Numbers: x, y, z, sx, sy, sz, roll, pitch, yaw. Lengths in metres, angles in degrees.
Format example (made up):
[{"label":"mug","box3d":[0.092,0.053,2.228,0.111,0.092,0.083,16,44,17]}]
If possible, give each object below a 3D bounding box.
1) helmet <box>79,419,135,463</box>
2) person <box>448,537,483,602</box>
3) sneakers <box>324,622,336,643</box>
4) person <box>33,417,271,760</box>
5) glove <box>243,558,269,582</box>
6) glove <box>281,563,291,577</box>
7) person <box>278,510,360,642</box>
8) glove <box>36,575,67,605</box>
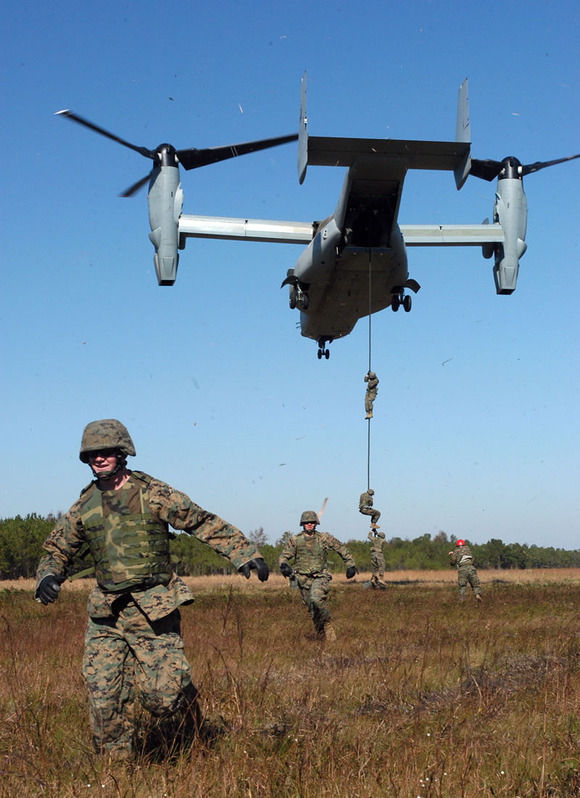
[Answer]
[{"label":"helmet","box3d":[-1.187,0.283,7.208,0.390,0.312,0.423,-2,-18,-3]},{"label":"person","box3d":[3.348,3.233,21.597,0.391,1.270,0.362,-9,13,7]},{"label":"sneakers","box3d":[0.458,2.716,13.147,0.132,0.182,0.254,-2,-4,-1]},{"label":"person","box3d":[-1.055,1.221,7.519,1.415,2.188,0.685,-4,-5,24]},{"label":"glove","box3d":[-0.209,1.142,7.328,0.123,0.176,0.075,-8,24,21]},{"label":"glove","box3d":[-0.049,2.054,13.522,0.095,0.175,0.068,-10,-11,-7]},{"label":"person","box3d":[0.325,2.157,13.808,0.907,1.584,2.090,-2,-4,1]},{"label":"glove","box3d":[-1.586,1.270,7.523,0.144,0.200,0.066,17,-22,23]}]
